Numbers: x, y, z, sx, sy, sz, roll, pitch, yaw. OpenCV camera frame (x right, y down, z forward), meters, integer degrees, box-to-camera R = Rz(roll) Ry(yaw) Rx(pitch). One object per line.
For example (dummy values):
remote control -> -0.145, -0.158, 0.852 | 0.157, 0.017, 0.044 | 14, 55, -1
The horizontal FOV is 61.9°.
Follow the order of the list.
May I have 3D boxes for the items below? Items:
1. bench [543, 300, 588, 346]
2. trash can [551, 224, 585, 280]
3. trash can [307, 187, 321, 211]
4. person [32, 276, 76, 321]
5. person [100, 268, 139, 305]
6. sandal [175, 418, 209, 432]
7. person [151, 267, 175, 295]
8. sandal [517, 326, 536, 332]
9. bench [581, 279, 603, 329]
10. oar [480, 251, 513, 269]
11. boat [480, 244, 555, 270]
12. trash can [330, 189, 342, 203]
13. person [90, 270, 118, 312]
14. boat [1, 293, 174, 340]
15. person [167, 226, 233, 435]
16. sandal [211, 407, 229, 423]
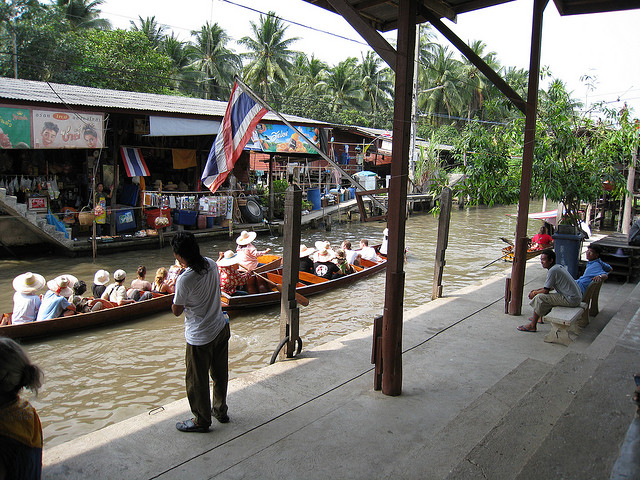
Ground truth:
bench -> 4.604, 1.457, 9.853 | 0.499, 0.493, 1.479 | 7, 17, 40
trash can -> 5.979, 0.191, 12.902 | 0.768, 1.519, 0.675 | 7, 11, 27
trash can -> -0.233, -1.896, 24.571 | 0.700, 0.959, 0.543 | -7, 15, -22
person -> -5.436, 1.229, 10.958 | 0.653, 0.955, 0.388 | 7, -23, -15
person -> -4.458, 1.213, 11.865 | 0.638, 1.091, 0.702 | 6, 9, 16
sandal -> -1.687, 2.474, 7.020 | 0.378, 0.163, 0.170 | 15, -9, -3
person -> -3.775, 0.964, 12.624 | 0.533, 0.762, 0.718 | 2, 6, -2
sandal -> 3.907, 1.697, 10.098 | 0.244, 0.071, 0.098 | 5, 0, 19
bench -> 5.231, 1.255, 10.318 | 0.419, 0.597, 0.826 | 3, 7, 40
oar -> 6.022, 0.718, 18.243 | 0.937, 0.035, 0.050 | -38, 9, -13
boat -> 6.440, 0.529, 17.198 | 1.668, 0.768, 1.396 | 4, 7, 32
trash can -> 0.813, -2.284, 27.195 | 0.571, 0.605, 0.588 | -12, 18, -35
person -> -4.871, 1.170, 11.941 | 0.447, 1.267, 0.389 | 10, 27, 14
boat -> -4.803, 1.608, 10.977 | 2.769, 0.410, 0.577 | -10, 18, -43
person -> -1.591, 1.212, 6.944 | 0.804, 2.637, 0.583 | -8, 15, -24
sandal -> -1.384, 2.384, 7.309 | 0.285, 0.139, 0.098 | 20, 17, 42
